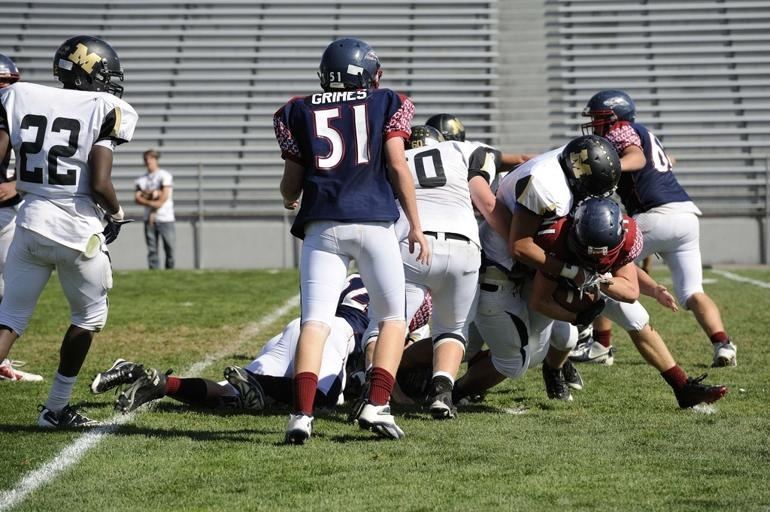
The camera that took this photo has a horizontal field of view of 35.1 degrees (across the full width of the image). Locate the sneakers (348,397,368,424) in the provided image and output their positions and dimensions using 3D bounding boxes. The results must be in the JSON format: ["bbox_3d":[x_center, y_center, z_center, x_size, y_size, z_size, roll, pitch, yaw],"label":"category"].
[{"bbox_3d":[-0.228,1.308,10.379,0.087,0.247,0.118,17,-5,43],"label":"sneakers"}]

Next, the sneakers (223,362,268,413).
[{"bbox_3d":[-1.224,1.169,10.738,0.236,0.472,0.219,-42,5,10],"label":"sneakers"}]

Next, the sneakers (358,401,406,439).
[{"bbox_3d":[-0.034,1.349,10.147,0.529,0.244,0.176,30,-26,-33],"label":"sneakers"}]

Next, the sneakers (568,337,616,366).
[{"bbox_3d":[2.043,0.940,11.929,0.568,0.220,0.198,3,0,-3],"label":"sneakers"}]

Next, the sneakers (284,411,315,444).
[{"bbox_3d":[-0.698,1.413,10.092,0.244,0.276,0.216,0,3,-23],"label":"sneakers"}]

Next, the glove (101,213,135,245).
[{"bbox_3d":[-2.397,-0.222,10.673,0.218,0.297,0.126,12,16,-13],"label":"glove"}]

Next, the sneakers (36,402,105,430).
[{"bbox_3d":[-2.742,1.376,10.511,0.577,0.209,0.201,1,-4,-3],"label":"sneakers"}]

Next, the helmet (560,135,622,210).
[{"bbox_3d":[1.770,-0.758,10.472,0.454,0.541,0.560,36,19,3],"label":"helmet"}]

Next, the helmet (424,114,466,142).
[{"bbox_3d":[0.566,-1.222,11.439,0.336,0.305,0.264,0,4,-8],"label":"helmet"}]

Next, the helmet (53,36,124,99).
[{"bbox_3d":[-2.553,-1.677,10.645,0.634,0.458,0.457,8,9,-24],"label":"helmet"}]

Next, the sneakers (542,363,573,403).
[{"bbox_3d":[1.563,1.151,11.033,0.159,0.442,0.192,-12,-35,5],"label":"sneakers"}]

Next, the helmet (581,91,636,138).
[{"bbox_3d":[2.159,-1.428,11.909,0.536,0.376,0.403,-1,4,0],"label":"helmet"}]

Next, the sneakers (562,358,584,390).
[{"bbox_3d":[1.721,1.037,11.275,0.130,0.344,0.138,-27,-24,-8],"label":"sneakers"}]

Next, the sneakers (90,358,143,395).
[{"bbox_3d":[-2.380,1.061,10.760,0.172,0.139,0.412,27,48,37],"label":"sneakers"}]
